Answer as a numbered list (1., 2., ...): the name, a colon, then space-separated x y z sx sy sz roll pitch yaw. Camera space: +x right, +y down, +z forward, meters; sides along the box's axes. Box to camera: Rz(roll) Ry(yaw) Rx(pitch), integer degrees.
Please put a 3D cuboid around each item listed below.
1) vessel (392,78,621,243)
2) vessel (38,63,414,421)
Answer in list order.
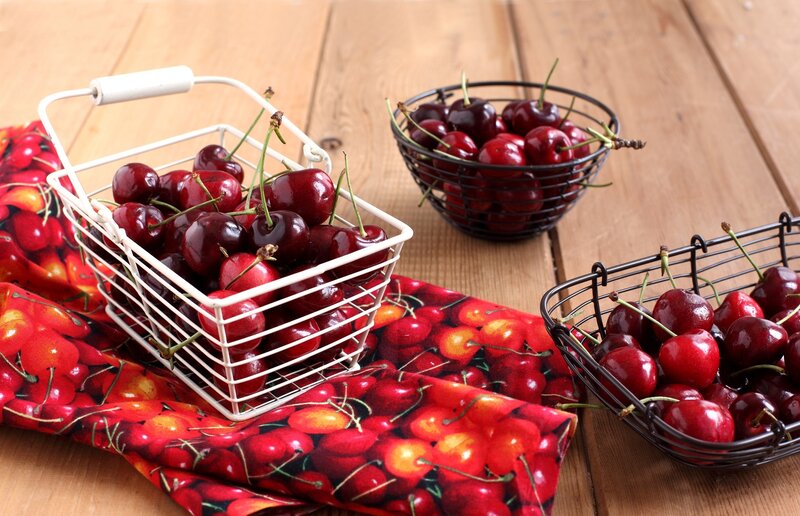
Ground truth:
1. vessel: 0.224 -0.161 1.398 0.408 0.202 0.411 10 33 16
2. vessel: -0.271 -0.047 1.083 0.535 0.344 0.369 25 35 32
